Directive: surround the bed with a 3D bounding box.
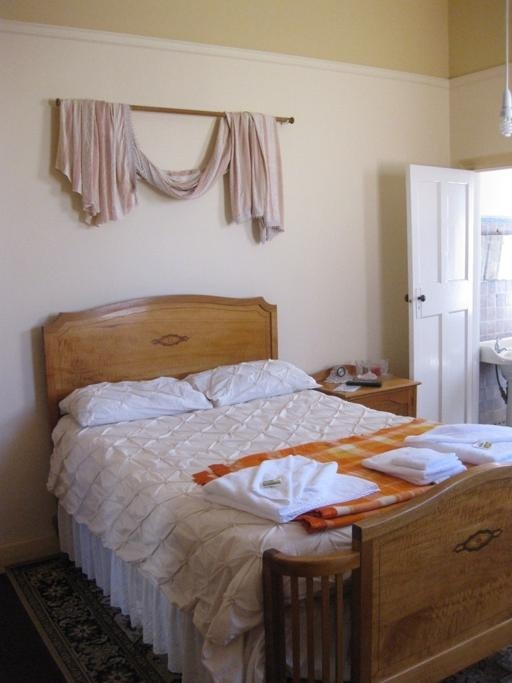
[{"bbox_3d":[-0.008,0.379,2.818,1.208,1.061,1.593,-13,21,-37],"label":"bed"}]

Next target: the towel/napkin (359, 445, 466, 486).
[{"bbox_3d":[0.531,0.390,1.954,0.153,0.044,0.153,-4,7,-43],"label":"towel/napkin"}]

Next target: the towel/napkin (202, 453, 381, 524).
[{"bbox_3d":[0.101,0.430,1.835,0.406,0.061,0.415,-6,5,-41],"label":"towel/napkin"}]

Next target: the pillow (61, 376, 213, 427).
[{"bbox_3d":[-0.556,0.277,2.900,0.641,0.146,0.287,-5,5,-33],"label":"pillow"}]

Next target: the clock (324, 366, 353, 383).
[{"bbox_3d":[0.512,0.207,3.897,0.110,0.047,0.139,-5,3,-19],"label":"clock"}]

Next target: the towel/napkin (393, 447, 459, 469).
[{"bbox_3d":[0.536,0.374,1.947,0.096,0.028,0.097,-7,10,-42],"label":"towel/napkin"}]
